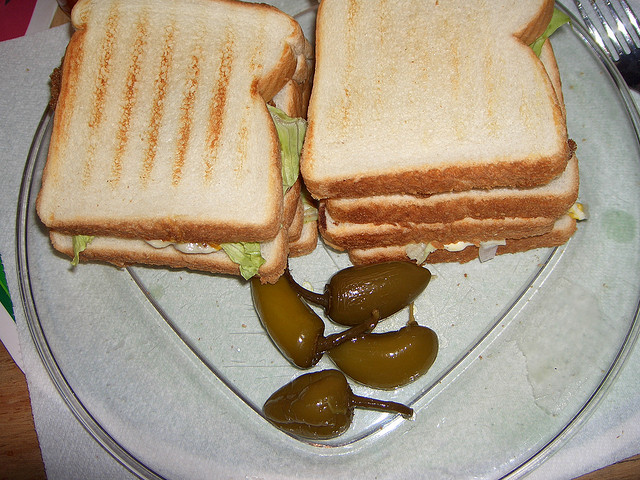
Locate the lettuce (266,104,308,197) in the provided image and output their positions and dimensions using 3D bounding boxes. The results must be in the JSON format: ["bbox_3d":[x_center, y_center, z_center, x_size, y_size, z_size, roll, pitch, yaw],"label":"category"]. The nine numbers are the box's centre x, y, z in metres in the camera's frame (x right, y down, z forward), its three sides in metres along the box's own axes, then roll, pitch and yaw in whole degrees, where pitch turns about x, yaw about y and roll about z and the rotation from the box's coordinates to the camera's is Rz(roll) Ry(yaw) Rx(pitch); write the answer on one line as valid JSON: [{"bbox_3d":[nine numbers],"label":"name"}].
[{"bbox_3d":[-0.169,-0.476,3.344,0.365,0.114,0.410,1,87,-32],"label":"lettuce"}]
